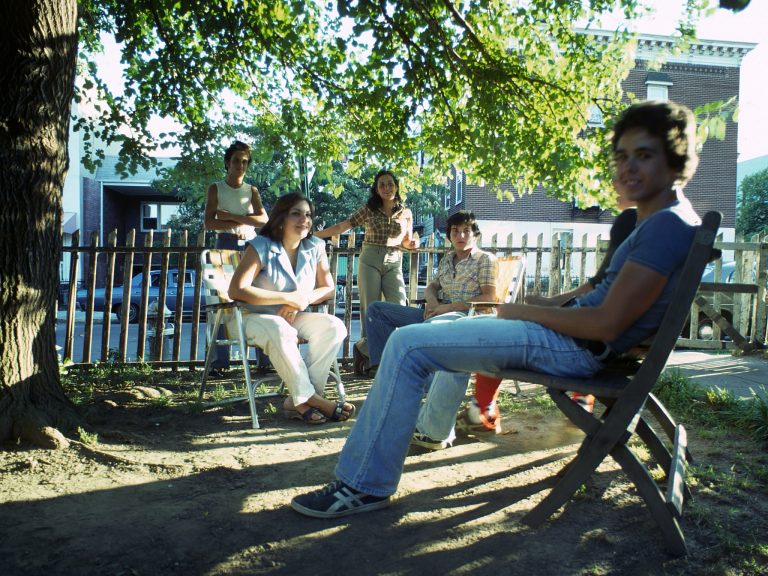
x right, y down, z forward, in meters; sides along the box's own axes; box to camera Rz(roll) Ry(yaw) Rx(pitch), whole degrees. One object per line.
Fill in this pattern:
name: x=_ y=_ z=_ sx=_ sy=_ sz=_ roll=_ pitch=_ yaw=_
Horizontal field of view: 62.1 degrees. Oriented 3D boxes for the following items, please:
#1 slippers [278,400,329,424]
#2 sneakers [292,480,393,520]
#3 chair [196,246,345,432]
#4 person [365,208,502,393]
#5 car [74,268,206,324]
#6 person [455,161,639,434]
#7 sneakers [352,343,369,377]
slippers: x=-0.711 y=1.104 z=5.703 sx=0.362 sy=0.126 sz=0.171 roll=-1 pitch=3 yaw=35
sneakers: x=-0.262 y=1.329 z=4.042 sx=0.590 sy=0.244 sz=0.226 roll=4 pitch=-10 yaw=-8
chair: x=-1.153 y=0.492 z=6.964 sx=1.585 sy=2.339 sz=1.669 roll=-1 pitch=-3 yaw=36
person: x=0.467 y=0.181 z=6.244 sx=1.234 sy=1.907 sz=0.983 roll=3 pitch=9 yaw=-14
car: x=-4.633 y=0.192 z=12.287 sx=3.377 sy=1.165 sz=1.471 roll=-1 pitch=3 yaw=-13
person: x=1.321 y=0.287 z=5.616 sx=1.476 sy=2.012 sz=1.090 roll=3 pitch=2 yaw=15
sneakers: x=-0.269 y=0.880 z=7.731 sx=0.138 sy=0.192 sz=0.422 roll=3 pitch=34 yaw=-2
